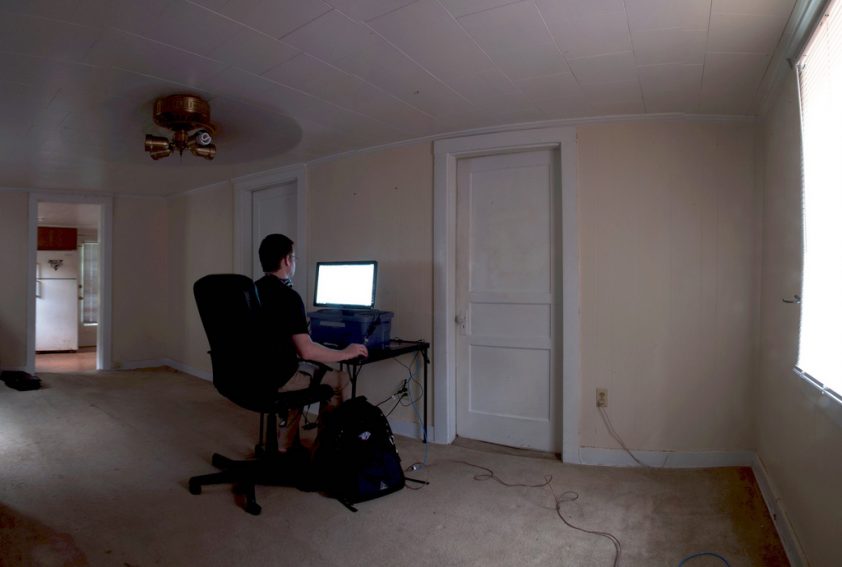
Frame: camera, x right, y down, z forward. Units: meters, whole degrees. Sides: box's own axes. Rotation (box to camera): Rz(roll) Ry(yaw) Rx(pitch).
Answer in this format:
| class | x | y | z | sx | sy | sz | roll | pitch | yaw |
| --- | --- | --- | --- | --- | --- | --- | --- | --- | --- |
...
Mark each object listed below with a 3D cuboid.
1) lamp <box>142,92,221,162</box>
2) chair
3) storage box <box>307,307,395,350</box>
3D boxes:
| class | x | y | z | sx | sy | sz | roll | pitch | yaw |
| --- | --- | --- | --- | --- | --- | --- | --- | --- | --- |
| lamp | -1.854 | -1.205 | 4.594 | 0.473 | 0.378 | 0.460 | 3 | -2 | -34 |
| chair | -1.188 | 0.742 | 4.141 | 0.998 | 1.624 | 0.610 | 3 | 15 | 10 |
| storage box | -0.618 | 0.366 | 4.864 | 0.550 | 0.276 | 0.422 | 3 | 3 | 25 |
